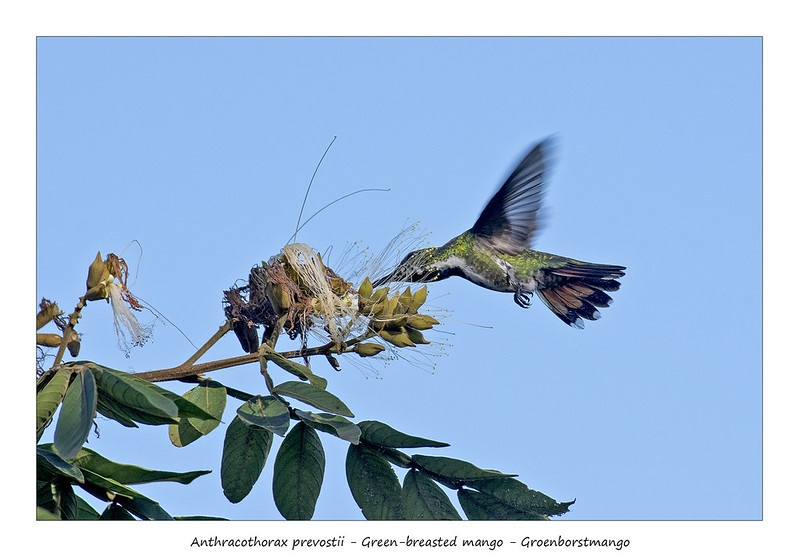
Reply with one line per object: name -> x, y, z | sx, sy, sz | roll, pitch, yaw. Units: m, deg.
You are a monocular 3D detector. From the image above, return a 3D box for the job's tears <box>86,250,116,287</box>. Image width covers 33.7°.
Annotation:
job's tears -> -1.489, -0.044, 6.646 | 0.138, 0.187, 0.130 | 8, -30, -12

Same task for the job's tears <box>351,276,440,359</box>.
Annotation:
job's tears -> -0.002, 0.183, 6.377 | 0.493, 0.252, 0.300 | -6, -17, 37
